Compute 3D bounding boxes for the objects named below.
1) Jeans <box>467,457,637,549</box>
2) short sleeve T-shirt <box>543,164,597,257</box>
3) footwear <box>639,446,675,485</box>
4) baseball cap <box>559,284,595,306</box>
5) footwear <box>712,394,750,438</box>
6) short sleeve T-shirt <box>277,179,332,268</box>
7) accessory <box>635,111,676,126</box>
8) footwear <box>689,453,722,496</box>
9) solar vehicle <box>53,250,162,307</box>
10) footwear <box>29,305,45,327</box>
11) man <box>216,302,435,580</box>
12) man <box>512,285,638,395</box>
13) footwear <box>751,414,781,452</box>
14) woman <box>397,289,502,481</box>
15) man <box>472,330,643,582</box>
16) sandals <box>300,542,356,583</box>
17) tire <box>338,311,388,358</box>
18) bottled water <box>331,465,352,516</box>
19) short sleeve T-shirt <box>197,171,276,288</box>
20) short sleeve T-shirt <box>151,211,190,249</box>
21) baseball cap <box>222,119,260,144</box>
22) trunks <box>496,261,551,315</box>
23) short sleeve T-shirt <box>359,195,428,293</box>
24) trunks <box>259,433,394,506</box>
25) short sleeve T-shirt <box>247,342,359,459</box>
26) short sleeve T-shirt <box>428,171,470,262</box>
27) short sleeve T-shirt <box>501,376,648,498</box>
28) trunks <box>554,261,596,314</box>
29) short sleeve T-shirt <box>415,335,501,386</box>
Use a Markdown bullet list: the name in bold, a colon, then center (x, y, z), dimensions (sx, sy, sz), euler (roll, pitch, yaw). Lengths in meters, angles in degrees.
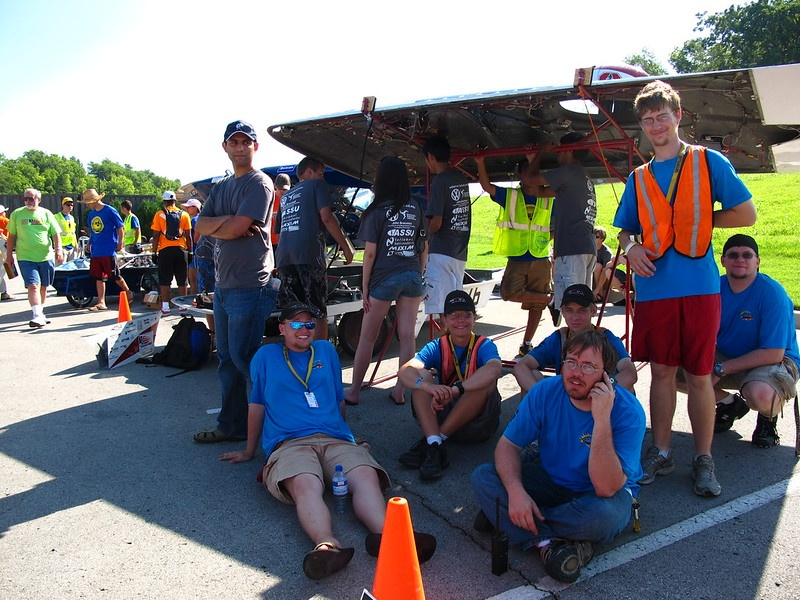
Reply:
- **Jeans**: center (0.990, 1.339, 3.779), dimensions (1.023, 0.478, 1.262), euler (-4, -4, 24)
- **short sleeve T-shirt**: center (1.697, -0.881, 5.556), dimensions (0.489, 0.928, 0.346), euler (-5, 4, 7)
- **footwear**: center (1.864, 1.196, 4.159), dimensions (0.153, 0.207, 0.418), euler (11, 18, 42)
- **baseball cap**: center (1.397, -0.025, 4.457), dimensions (0.229, 0.169, 0.308), euler (-4, 4, 18)
- **footwear**: center (2.927, 0.949, 4.912), dimensions (0.145, 0.203, 0.426), euler (-14, -21, -5)
- **short sleeve T-shirt**: center (-1.010, -0.723, 5.704), dimensions (0.667, 0.953, 0.387), euler (-11, -18, 23)
- **accessory**: center (1.742, -1.223, 3.816), dimensions (0.224, 0.090, 0.087), euler (-4, 4, 21)
- **footwear**: center (2.141, 1.252, 3.951), dimensions (0.129, 0.167, 0.348), euler (-4, -4, 13)
- **solar vehicle**: center (-5.726, -0.373, 11.060), dimensions (1.596, 0.571, 1.067), euler (-4, 7, -37)
- **footwear**: center (-5.909, 0.311, 9.182), dimensions (0.173, 0.365, 0.496), euler (-1, -4, -13)
- **man**: center (-0.564, 0.710, 3.859), dimensions (0.933, 1.062, 1.799), euler (-6, 21, -21)
- **man**: center (1.395, 0.405, 4.431), dimensions (0.995, 1.003, 0.770), euler (-1, 6, 44)
- **footwear**: center (2.974, 1.084, 4.600), dimensions (0.144, 0.238, 0.320), euler (1, 5, 24)
- **woman**: center (0.421, 0.600, 4.595), dimensions (0.742, 1.376, 1.235), euler (1, 4, 28)
- **man**: center (0.970, 0.899, 3.406), dimensions (1.004, 1.367, 0.504), euler (-6, 4, -9)
- **sandals**: center (-0.407, 1.466, 3.177), dimensions (0.274, 0.170, 0.108), euler (5, 4, -34)
- **tire**: center (-0.424, 0.375, 6.287), dimensions (0.407, 0.444, 0.149), euler (-25, 29, -18)
- **bottled water**: center (-0.408, 1.277, 3.835), dimensions (0.104, 0.327, 0.223), euler (-6, 4, -9)
- **short sleeve T-shirt**: center (-1.351, -0.568, 4.697), dimensions (0.559, 0.687, 0.288), euler (-4, 4, 23)
- **short sleeve T-shirt**: center (-4.115, -1.240, 10.159), dimensions (0.659, 0.813, 0.390), euler (1, -3, -19)
- **baseball cap**: center (-1.285, -1.358, 4.502), dimensions (0.231, 0.114, 0.295), euler (-7, 4, -16)
- **trunks**: center (1.550, -0.227, 7.003), dimensions (0.669, 0.974, 0.519), euler (2, 2, 20)
- **short sleeve T-shirt**: center (-0.053, -0.510, 5.288), dimensions (0.765, 1.051, 0.402), euler (-4, 12, -19)
- **trunks**: center (-0.528, 1.181, 3.895), dimensions (0.843, 0.291, 0.415), euler (-7, 4, -15)
- **short sleeve T-shirt**: center (-0.755, 0.771, 4.189), dimensions (0.725, 0.886, 0.461), euler (2, -27, -24)
- **short sleeve T-shirt**: center (0.479, -0.820, 5.679), dimensions (0.334, 0.982, 0.714), euler (8, 13, 35)
- **short sleeve T-shirt**: center (1.116, 0.728, 3.577), dimensions (1.031, 0.862, 0.615), euler (3, 1, 37)
- **trunks**: center (1.737, -0.211, 5.684), dimensions (0.311, 0.594, 0.422), euler (-1, 4, 33)
- **short sleeve T-shirt**: center (0.491, 0.577, 4.695), dimensions (0.672, 0.536, 0.387), euler (-2, -1, 11)
